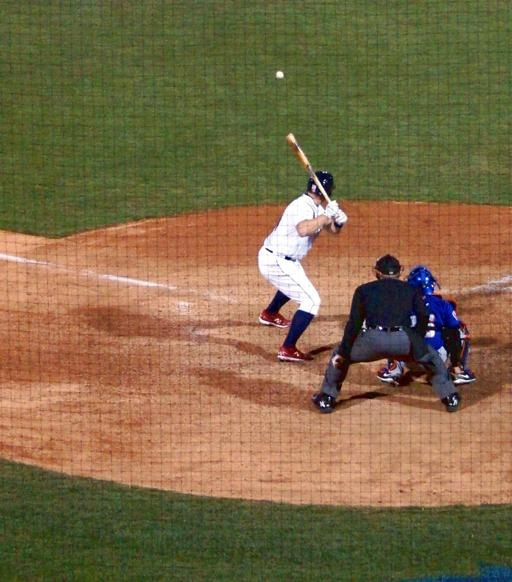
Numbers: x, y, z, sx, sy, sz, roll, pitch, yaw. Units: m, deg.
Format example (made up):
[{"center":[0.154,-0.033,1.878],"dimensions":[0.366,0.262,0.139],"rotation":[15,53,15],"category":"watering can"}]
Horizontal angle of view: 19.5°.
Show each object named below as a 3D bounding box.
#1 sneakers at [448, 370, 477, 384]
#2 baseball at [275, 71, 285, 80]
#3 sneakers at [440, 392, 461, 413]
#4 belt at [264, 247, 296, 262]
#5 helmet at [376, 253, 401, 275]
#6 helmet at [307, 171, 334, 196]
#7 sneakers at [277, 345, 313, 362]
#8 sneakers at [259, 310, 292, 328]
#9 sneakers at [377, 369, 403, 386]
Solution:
[{"center":[2.378,1.019,17.305],"dimensions":[0.311,0.118,0.122],"rotation":[-7,28,-6],"category":"sneakers"},{"center":[0.374,-3.570,24.584],"dimensions":[0.154,0.110,0.282],"rotation":[-15,18,4],"category":"baseball"},{"center":[2.196,1.280,16.821],"dimensions":[0.151,0.179,0.286],"rotation":[-12,24,29],"category":"sneakers"},{"center":[0.292,-0.427,17.723],"dimensions":[0.353,0.047,0.050],"rotation":[23,0,2],"category":"belt"},{"center":[1.447,-0.279,16.405],"dimensions":[0.192,0.141,0.252],"rotation":[1,29,2],"category":"helmet"},{"center":[0.790,-1.273,17.732],"dimensions":[0.350,0.313,0.249],"rotation":[-5,42,4],"category":"helmet"},{"center":[0.429,0.765,17.838],"dimensions":[0.461,0.184,0.161],"rotation":[2,8,-5],"category":"sneakers"},{"center":[0.228,0.382,18.576],"dimensions":[0.416,0.170,0.165],"rotation":[8,31,-4],"category":"sneakers"},{"center":[1.561,1.011,17.398],"dimensions":[0.130,0.144,0.339],"rotation":[-10,30,-40],"category":"sneakers"}]
